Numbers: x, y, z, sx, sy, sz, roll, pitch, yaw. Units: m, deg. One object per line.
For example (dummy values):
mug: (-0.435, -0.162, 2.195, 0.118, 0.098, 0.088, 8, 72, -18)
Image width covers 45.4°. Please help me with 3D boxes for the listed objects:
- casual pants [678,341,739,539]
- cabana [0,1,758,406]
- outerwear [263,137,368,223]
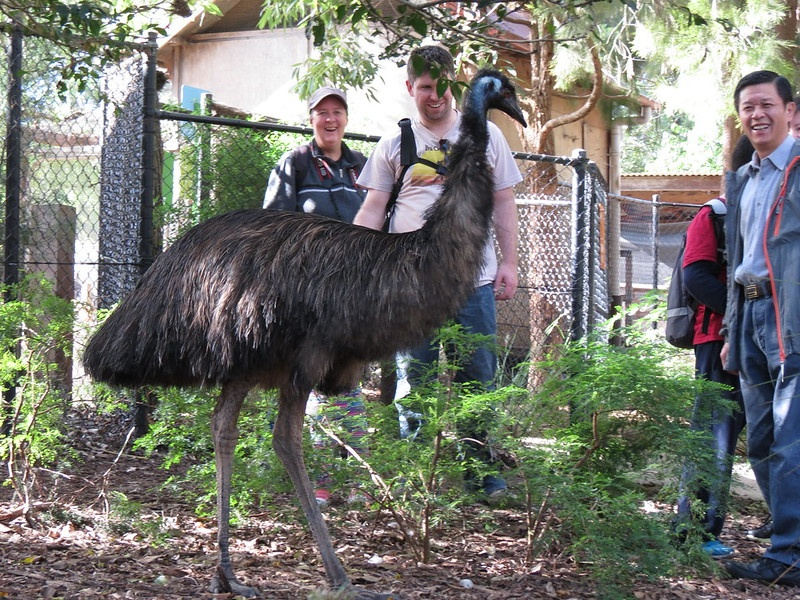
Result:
casual pants: (1.865, 0.872, 5.758, 0.366, 1.179, 0.913, 8, 12, 19)
cabana: (-0.370, -1.159, 9.284, 6.700, 2.983, 5.685, 0, 1, 8)
outerwear: (-0.497, -0.812, 6.675, 0.989, 0.587, 0.331, -7, 22, -31)
